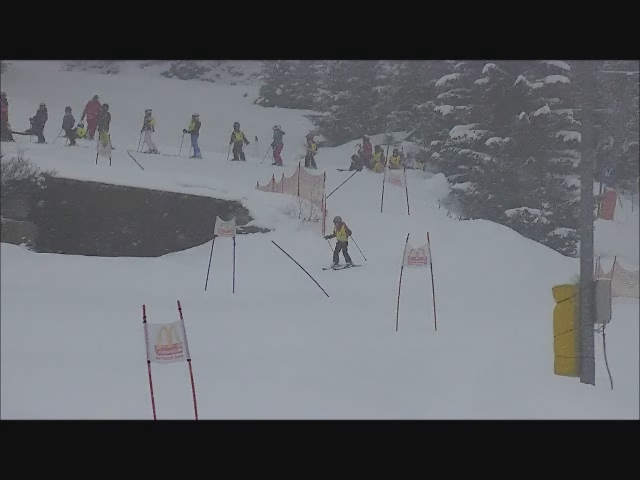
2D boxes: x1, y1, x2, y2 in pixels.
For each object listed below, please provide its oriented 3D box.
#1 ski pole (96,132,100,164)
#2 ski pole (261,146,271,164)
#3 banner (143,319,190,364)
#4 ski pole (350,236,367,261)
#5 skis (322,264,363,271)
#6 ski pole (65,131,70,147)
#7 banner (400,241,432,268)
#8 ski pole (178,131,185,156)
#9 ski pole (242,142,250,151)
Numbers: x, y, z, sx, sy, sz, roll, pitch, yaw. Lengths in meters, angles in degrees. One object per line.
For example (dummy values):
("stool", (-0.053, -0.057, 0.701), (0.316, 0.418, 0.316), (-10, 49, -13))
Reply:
("ski pole", (-2.503, -1.011, 13.047), (0.027, 0.330, 0.035), (6, 8, -11))
("ski pole", (-0.615, -0.937, 13.026), (0.034, 0.199, 0.029), (27, -8, 36))
("banner", (-1.673, 1.137, 12.635), (0.406, 0.480, 0.066), (-7, -1, -9))
("ski pole", (0.421, 0.115, 12.885), (0.032, 0.312, 0.013), (-33, -6, 16))
("skis", (0.239, 0.320, 12.849), (0.430, 0.068, 0.012), (-1, 0, -1))
("ski pole", (-2.838, -1.133, 13.055), (0.023, 0.174, 0.026), (23, 4, 12))
("banner", (1.058, 0.189, 12.842), (0.262, 0.287, 0.013), (1, -21, 1))
("ski pole", (-1.557, -1.060, 13.053), (0.031, 0.318, 0.035), (11, 1, 6))
("ski pole", (-0.831, -1.042, 13.014), (0.019, 0.124, 0.015), (45, 1, -5))
